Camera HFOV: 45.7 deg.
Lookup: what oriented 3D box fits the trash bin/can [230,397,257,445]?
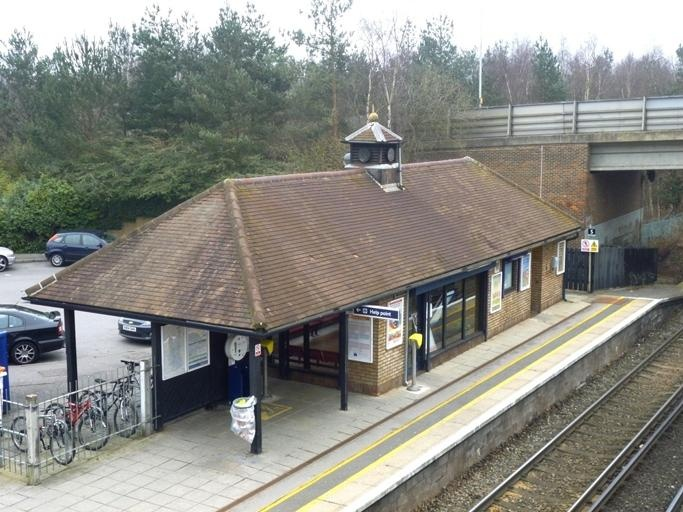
[{"bbox_3d":[-2.484,4.109,20.455,0.651,0.951,0.760,-10,22,-33],"label":"trash bin/can"}]
